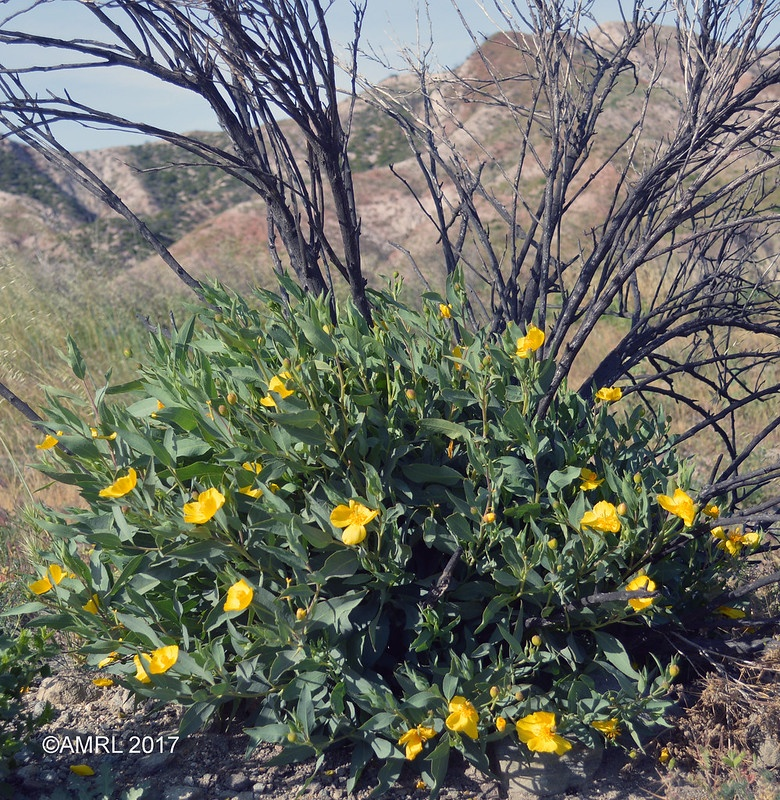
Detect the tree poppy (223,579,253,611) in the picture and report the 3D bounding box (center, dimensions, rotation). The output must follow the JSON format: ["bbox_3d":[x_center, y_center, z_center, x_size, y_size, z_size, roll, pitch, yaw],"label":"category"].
[{"bbox_3d":[-0.432,0.571,2.553,0.090,0.056,0.111,-63,20,-3],"label":"tree poppy"}]

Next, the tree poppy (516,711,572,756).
[{"bbox_3d":[0.464,1.026,2.674,0.066,0.154,0.153,-43,-7,-6],"label":"tree poppy"}]

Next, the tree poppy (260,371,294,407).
[{"bbox_3d":[-0.323,-0.020,2.605,0.110,0.050,0.100,-31,35,20],"label":"tree poppy"}]

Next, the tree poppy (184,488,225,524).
[{"bbox_3d":[-0.533,0.312,2.540,0.127,0.055,0.094,-5,52,42],"label":"tree poppy"}]

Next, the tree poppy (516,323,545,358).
[{"bbox_3d":[0.445,-0.185,2.739,0.086,0.059,0.104,-42,17,21],"label":"tree poppy"}]

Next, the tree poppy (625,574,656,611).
[{"bbox_3d":[0.744,0.569,2.611,0.116,0.041,0.103,-3,57,34],"label":"tree poppy"}]

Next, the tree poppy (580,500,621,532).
[{"bbox_3d":[0.638,0.362,2.642,0.118,0.039,0.098,-28,44,-4],"label":"tree poppy"}]

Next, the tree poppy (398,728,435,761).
[{"bbox_3d":[0.070,1.019,2.635,0.096,0.052,0.129,-31,6,-10],"label":"tree poppy"}]

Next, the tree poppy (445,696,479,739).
[{"bbox_3d":[0.212,0.946,2.616,0.091,0.131,0.130,-13,10,7],"label":"tree poppy"}]

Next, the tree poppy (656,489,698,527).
[{"bbox_3d":[0.883,0.329,2.634,0.069,0.118,0.105,17,-42,-33],"label":"tree poppy"}]

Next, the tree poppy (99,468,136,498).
[{"bbox_3d":[-0.827,0.263,2.731,0.112,0.054,0.112,-36,13,-6],"label":"tree poppy"}]
